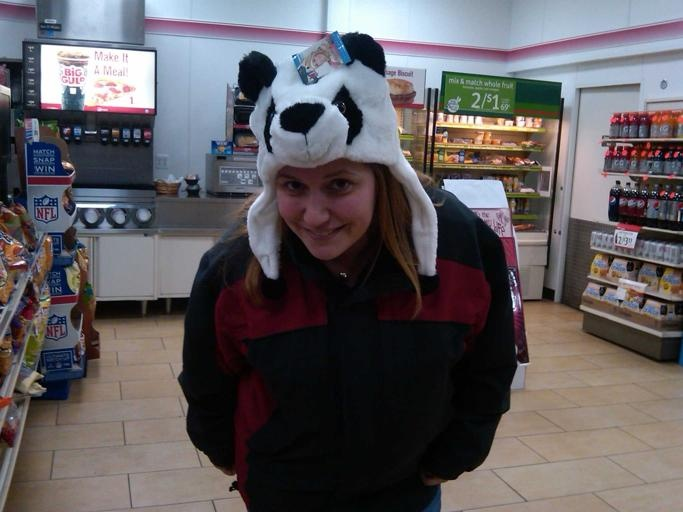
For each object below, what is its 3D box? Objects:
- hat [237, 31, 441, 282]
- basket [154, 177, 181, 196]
[{"bbox_3d":[-0.019,-0.190,1.112,0.418,0.554,0.391,-5,19,4],"label":"hat"},{"bbox_3d":[-2.097,-0.801,5.841,0.227,0.142,0.260,0,1,-9],"label":"basket"}]
